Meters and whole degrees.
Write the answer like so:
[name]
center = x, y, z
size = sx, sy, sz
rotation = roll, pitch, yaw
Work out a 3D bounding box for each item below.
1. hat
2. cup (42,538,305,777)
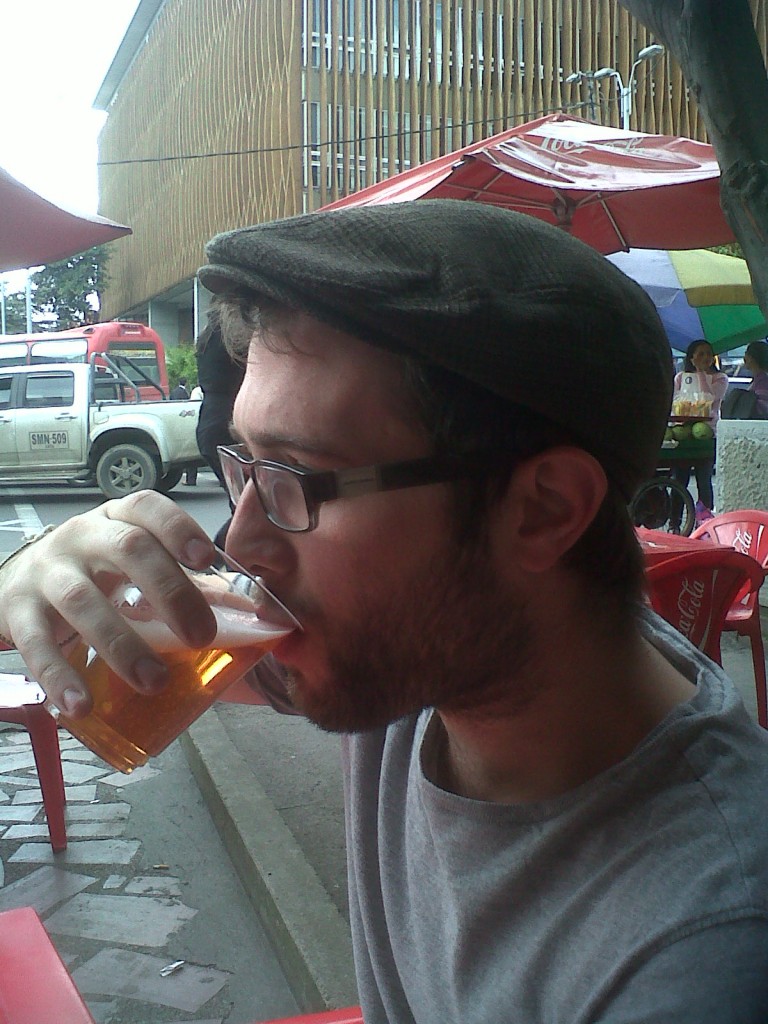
[hat]
center = 0.069, -0.283, 1.061
size = 0.520, 0.171, 0.432
rotation = 10, 22, -22
[cup]
center = -0.224, 0.167, 1.018
size = 0.244, 0.246, 0.118
rotation = 3, 5, -6
